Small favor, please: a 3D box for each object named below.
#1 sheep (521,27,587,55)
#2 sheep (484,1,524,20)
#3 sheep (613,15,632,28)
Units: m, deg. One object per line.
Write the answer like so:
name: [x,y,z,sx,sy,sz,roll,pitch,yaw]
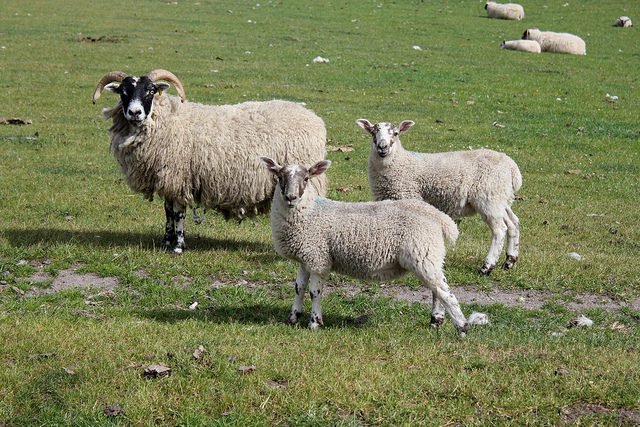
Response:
sheep: [13.960,-10.051,54.694,4.142,2.000,1.449,16,20,25]
sheep: [13.243,-14.625,65.300,3.204,1.525,1.121,16,23,34]
sheep: [20.293,-12.789,60.549,0.939,0.614,1.748,0,18,-10]
